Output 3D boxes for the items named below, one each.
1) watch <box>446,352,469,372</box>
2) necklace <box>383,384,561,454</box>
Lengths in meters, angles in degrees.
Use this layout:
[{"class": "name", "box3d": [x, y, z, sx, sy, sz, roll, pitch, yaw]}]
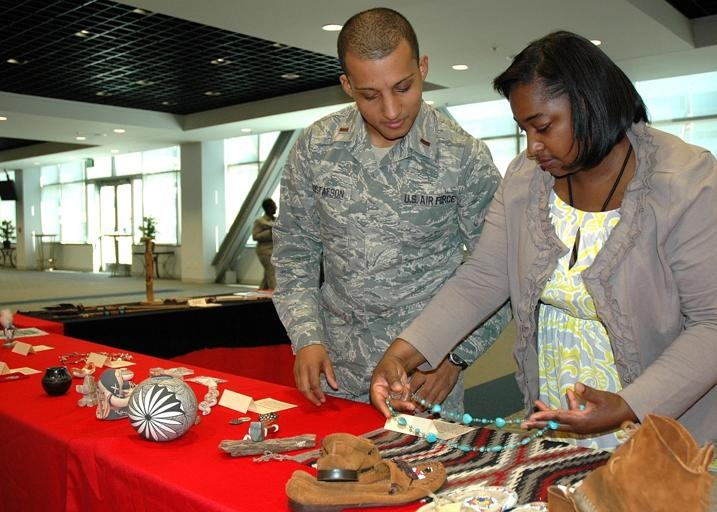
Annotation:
[{"class": "watch", "box3d": [0.327, 0.353, 1.745, 0.054, 0.034, 0.074, 34, -8, -7]}, {"class": "necklace", "box3d": [0.333, 0.434, 1.450, 0.492, 0.103, 0.260, 8, -40, 3]}]
